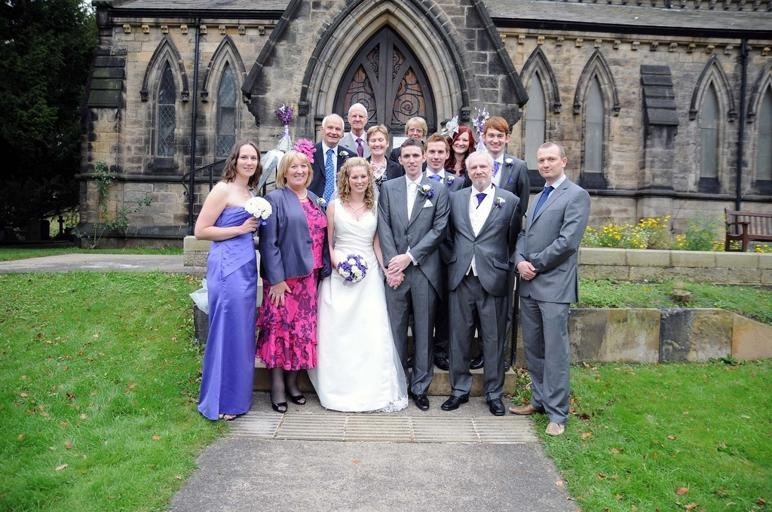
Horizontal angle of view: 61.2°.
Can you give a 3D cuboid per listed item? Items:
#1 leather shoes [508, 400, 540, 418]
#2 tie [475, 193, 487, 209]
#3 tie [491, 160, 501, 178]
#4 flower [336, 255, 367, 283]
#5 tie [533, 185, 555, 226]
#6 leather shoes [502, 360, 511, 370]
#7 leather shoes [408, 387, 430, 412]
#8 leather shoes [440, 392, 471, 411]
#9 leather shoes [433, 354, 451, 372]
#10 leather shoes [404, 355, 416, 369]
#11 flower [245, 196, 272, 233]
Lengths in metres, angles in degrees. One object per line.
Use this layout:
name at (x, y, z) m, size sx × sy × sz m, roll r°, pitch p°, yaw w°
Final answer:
leather shoes at (2.370, 2.645, 11.275) m, size 0.590 × 0.247 × 0.203 m, roll 3°, pitch -4°, yaw 6°
tie at (1.612, -0.940, 11.168) m, size 0.200 × 0.207 × 0.060 m, roll 28°, pitch 10°, yaw -23°
tie at (1.994, -1.549, 11.743) m, size 0.264 × 0.276 × 0.086 m, roll 2°, pitch -7°, yaw -18°
flower at (-0.552, 0.206, 11.089) m, size 0.449 × 0.460 × 0.182 m, roll -31°, pitch 1°, yaw -12°
tie at (2.651, -0.879, 11.093) m, size 0.293 × 0.612 × 0.250 m, roll -1°, pitch 2°, yaw -30°
leather shoes at (2.227, 2.007, 11.987) m, size 0.153 × 0.055 × 0.213 m, roll 1°, pitch 2°, yaw -1°
leather shoes at (0.603, 2.476, 11.374) m, size 0.194 × 0.211 × 0.494 m, roll -4°, pitch 19°, yaw -35°
leather shoes at (1.181, 2.504, 11.280) m, size 0.557 × 0.243 × 0.205 m, roll 0°, pitch 17°, yaw -34°
leather shoes at (1.060, 1.907, 11.709) m, size 0.144 × 0.173 × 0.420 m, roll -2°, pitch 16°, yaw -46°
leather shoes at (0.445, 1.891, 11.733) m, size 0.178 × 0.209 × 0.238 m, roll -1°, pitch -7°, yaw 7°
flower at (-2.117, -0.735, 10.894) m, size 0.470 × 0.463 × 0.317 m, roll 0°, pitch 2°, yaw -13°
